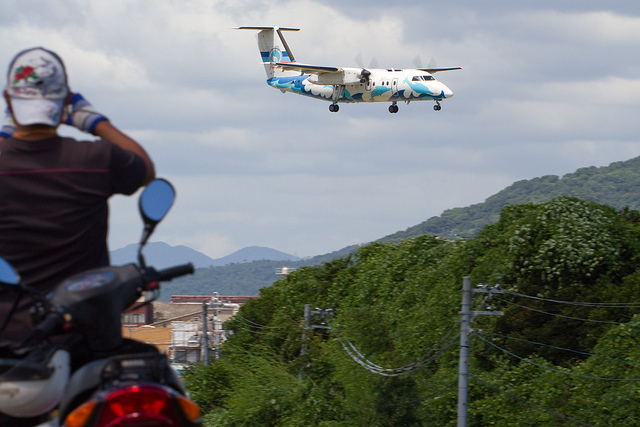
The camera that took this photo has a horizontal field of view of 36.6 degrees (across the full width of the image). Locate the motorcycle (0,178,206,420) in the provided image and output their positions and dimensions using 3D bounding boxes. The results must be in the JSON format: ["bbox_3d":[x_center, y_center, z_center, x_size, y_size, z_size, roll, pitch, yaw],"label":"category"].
[{"bbox_3d":[-2.005,0.841,8.854,2.063,2.243,0.974,3,2,5],"label":"motorcycle"}]

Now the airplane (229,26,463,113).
[{"bbox_3d":[1.475,-6.283,42.813,9.637,2.319,9.498,12,19,38],"label":"airplane"}]

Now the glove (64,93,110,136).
[{"bbox_3d":[-2.292,-0.959,9.459,0.422,0.427,0.438,2,2,-8],"label":"glove"}]
